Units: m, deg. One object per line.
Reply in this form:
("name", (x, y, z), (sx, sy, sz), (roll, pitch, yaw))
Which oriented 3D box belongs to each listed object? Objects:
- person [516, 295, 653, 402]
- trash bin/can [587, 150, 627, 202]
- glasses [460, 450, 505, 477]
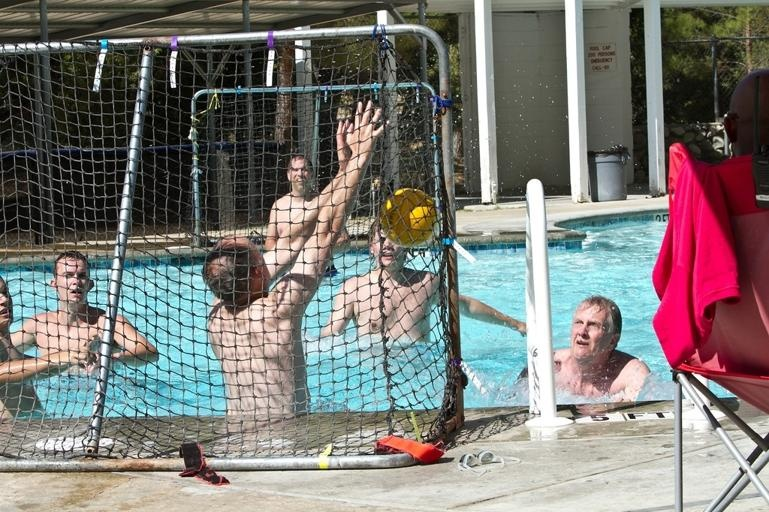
("person", (1.547, 0.649, 6.467), (0.702, 0.771, 0.428), (3, 13, 20))
("trash bin/can", (3.886, -1.414, 16.123), (0.889, 0.992, 0.845), (0, -6, -7))
("glasses", (0.491, 1.059, 4.577), (0.241, 0.054, 0.159), (-1, 12, 2))
